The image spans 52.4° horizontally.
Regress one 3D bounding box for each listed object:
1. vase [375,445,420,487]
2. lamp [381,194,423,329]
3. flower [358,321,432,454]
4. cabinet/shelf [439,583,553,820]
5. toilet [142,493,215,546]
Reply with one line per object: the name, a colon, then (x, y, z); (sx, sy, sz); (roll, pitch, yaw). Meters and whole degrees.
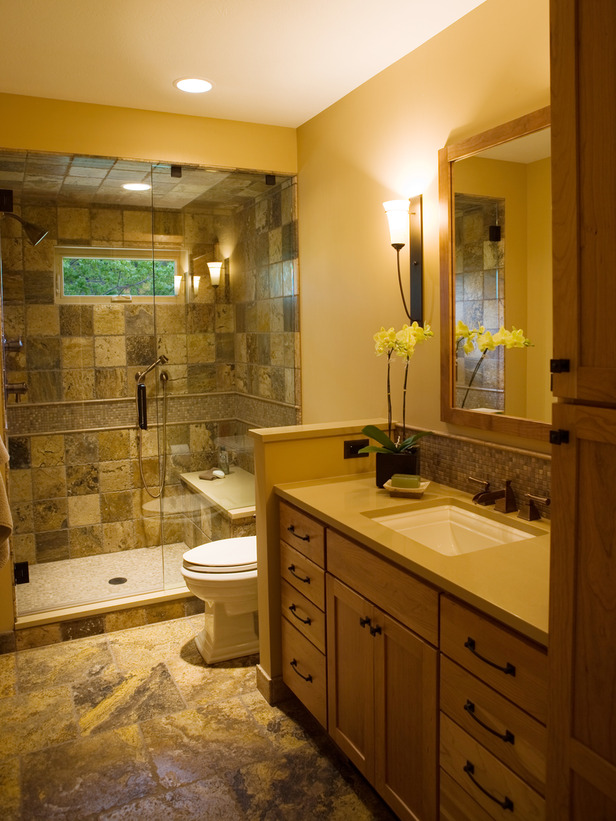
vase: (0.311, 0.165, 2.261); (0.168, 0.175, 0.120); (3, 9, 20)
lamp: (0.347, -0.578, 2.469); (0.146, 0.496, 0.211); (-2, 3, -15)
flower: (0.346, -0.105, 2.466); (0.255, 0.494, 0.550); (-1, 3, 7)
cabinet/shelf: (0.348, 0.506, 1.207); (0.186, 0.265, 0.357); (1, 3, -13)
toilet: (-0.677, 0.573, 3.344); (0.351, 0.244, 0.224); (0, 4, -5)
